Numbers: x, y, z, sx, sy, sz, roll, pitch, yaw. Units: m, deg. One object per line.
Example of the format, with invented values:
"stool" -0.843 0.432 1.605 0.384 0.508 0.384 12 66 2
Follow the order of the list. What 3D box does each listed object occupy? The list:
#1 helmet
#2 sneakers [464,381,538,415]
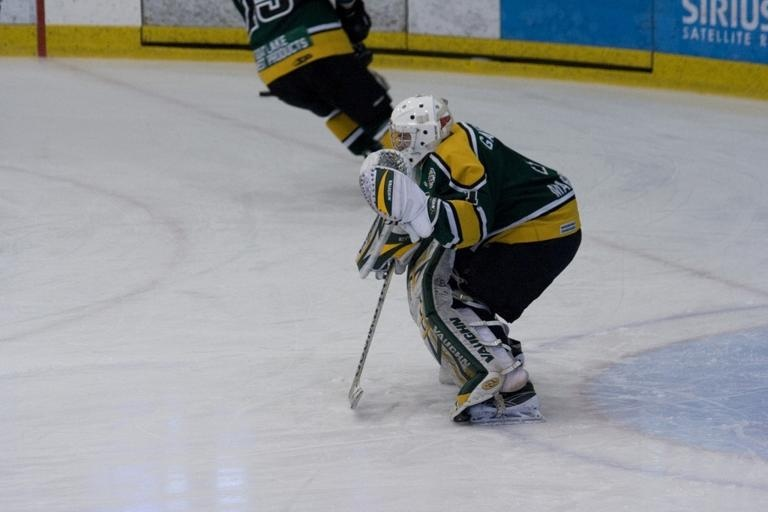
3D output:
"helmet" 0.198 -0.515 4.567 0.293 0.240 0.265 -5 15 25
"sneakers" 0.439 0.560 4.429 0.421 0.141 0.134 3 -12 -40
